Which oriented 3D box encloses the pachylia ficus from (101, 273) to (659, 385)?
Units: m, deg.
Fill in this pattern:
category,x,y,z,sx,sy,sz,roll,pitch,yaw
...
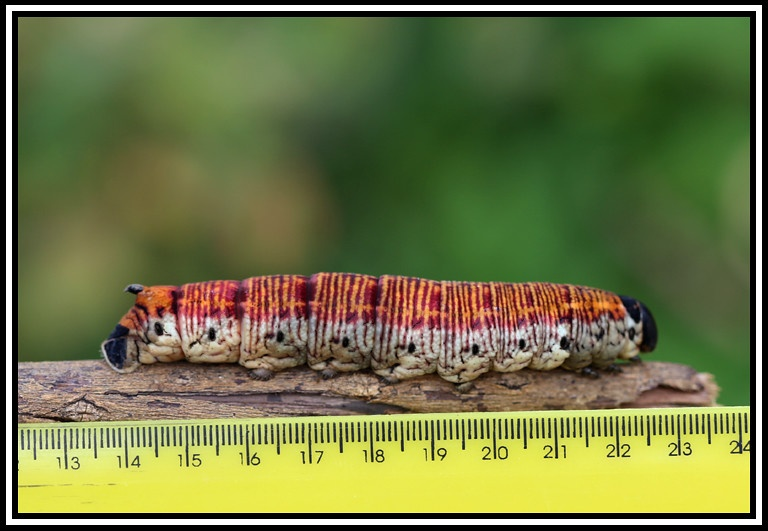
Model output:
category,x,y,z,sx,sy,sz,roll,pitch,yaw
pachylia ficus,0.021,0.515,8.509,5.007,0.993,0.910,2,24,-10
